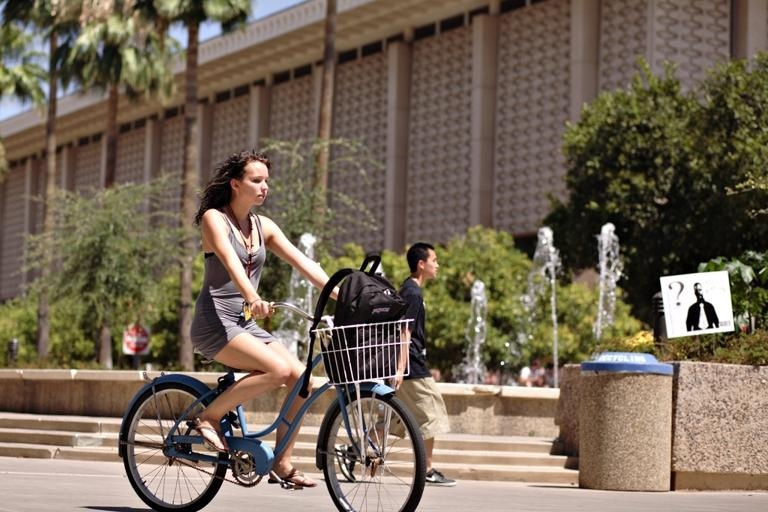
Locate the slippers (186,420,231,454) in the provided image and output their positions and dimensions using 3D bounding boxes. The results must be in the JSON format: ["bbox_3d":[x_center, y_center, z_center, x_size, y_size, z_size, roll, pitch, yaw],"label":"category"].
[{"bbox_3d":[-3.560,3.620,30.014,1.004,0.409,0.269,41,-8,4],"label":"slippers"}]

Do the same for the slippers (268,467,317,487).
[{"bbox_3d":[-1.831,4.472,29.928,0.903,0.278,0.408,0,-4,9],"label":"slippers"}]
